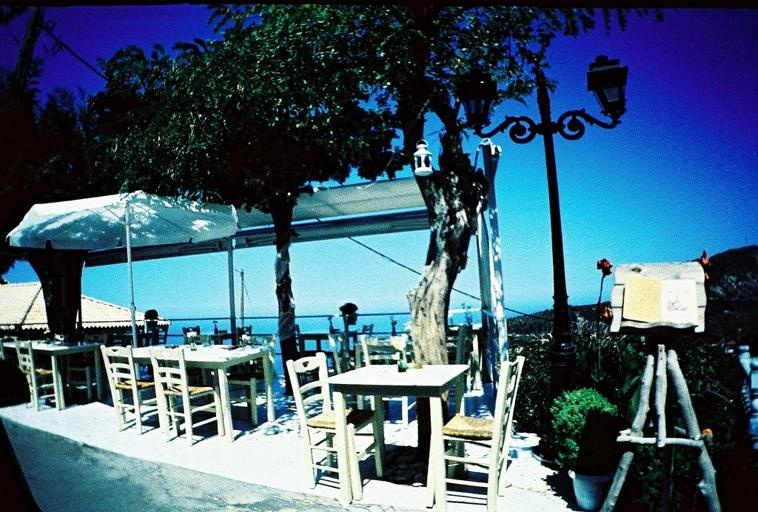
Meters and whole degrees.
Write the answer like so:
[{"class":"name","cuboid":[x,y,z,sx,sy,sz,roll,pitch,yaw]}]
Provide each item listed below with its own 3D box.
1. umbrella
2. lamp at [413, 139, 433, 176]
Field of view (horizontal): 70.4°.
[{"class":"umbrella","cuboid":[-4.489,0.776,9.398,3.320,2.482,3.667,-5,-3,25]},{"class":"lamp","cuboid":[0.589,-1.348,7.233,0.246,0.531,0.299,-2,-3,7]}]
